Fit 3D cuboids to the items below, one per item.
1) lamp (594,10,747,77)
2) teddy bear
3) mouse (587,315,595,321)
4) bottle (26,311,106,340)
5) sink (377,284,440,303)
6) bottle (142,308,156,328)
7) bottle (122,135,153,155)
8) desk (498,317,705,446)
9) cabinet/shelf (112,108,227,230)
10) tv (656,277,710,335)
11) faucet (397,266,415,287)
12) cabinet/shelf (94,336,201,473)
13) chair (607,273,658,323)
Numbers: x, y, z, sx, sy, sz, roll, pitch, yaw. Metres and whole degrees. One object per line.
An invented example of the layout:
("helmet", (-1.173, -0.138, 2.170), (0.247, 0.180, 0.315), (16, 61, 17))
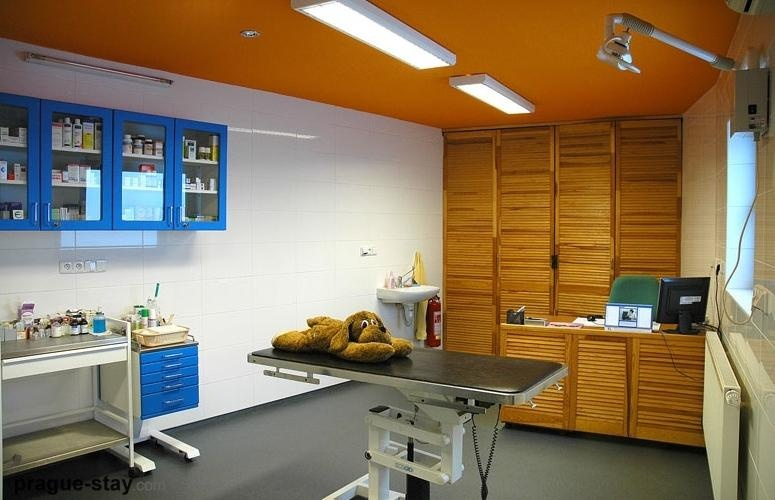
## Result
("lamp", (1.955, -1.380, 3.762), (0.987, 0.373, 0.191), (16, 7, -6))
("teddy bear", (-0.342, 0.712, 4.252), (0.752, 0.233, 0.507), (0, -3, 26))
("mouse", (2.249, 0.747, 5.822), (0.059, 0.044, 0.076), (0, -8, 27))
("bottle", (-2.904, 0.668, 4.767), (0.639, 0.210, 0.344), (-3, 11, -22))
("sink", (0.266, 0.637, 7.245), (0.743, 0.291, 0.443), (-5, 12, -33))
("bottle", (-2.315, 0.652, 5.122), (0.147, 0.168, 0.082), (-4, 11, -24))
("bottle", (-2.388, -1.008, 5.034), (0.145, 0.166, 0.243), (2, 0, 41))
("desk", (2.213, 1.323, 5.202), (1.409, 0.711, 0.445), (0, 0, 22))
("cabinet/shelf", (-2.103, -0.769, 5.394), (1.257, 1.104, 0.455), (5, 7, 9))
("tv", (2.918, 0.551, 5.186), (0.581, 0.621, 0.234), (1, 12, 6))
("faucet", (0.228, 0.389, 7.465), (0.260, 0.264, 0.199), (2, -2, -14))
("cabinet/shelf", (-2.463, 1.500, 5.234), (0.647, 1.104, 0.829), (14, -1, -9))
("chair", (2.805, 0.526, 5.957), (0.459, 0.583, 0.531), (-2, -3, 29))
